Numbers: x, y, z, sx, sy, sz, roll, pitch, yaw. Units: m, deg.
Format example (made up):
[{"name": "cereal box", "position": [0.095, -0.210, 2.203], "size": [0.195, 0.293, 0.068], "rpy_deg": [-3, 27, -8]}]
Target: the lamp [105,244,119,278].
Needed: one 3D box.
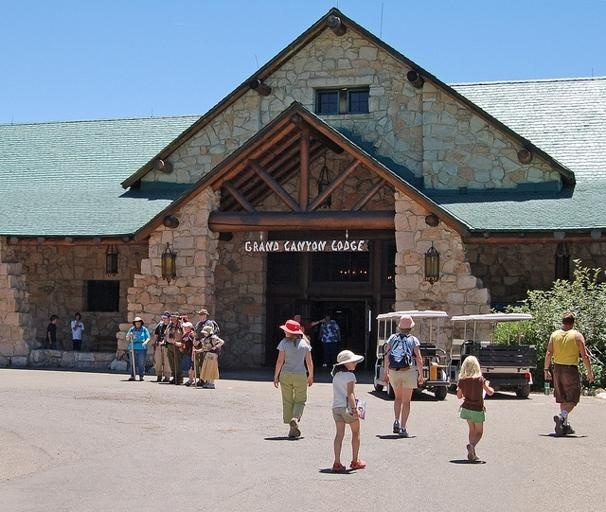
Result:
[{"name": "lamp", "position": [-5.565, 0.127, 34.674], "size": [0.435, 0.852, 0.381], "rpy_deg": [-1, -5, 7]}]

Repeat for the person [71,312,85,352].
[{"name": "person", "position": [-6.455, 2.136, 34.235], "size": [0.359, 1.105, 1.637], "rpy_deg": [1, -5, -10]}]

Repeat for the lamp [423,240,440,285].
[{"name": "lamp", "position": [3.101, 0.191, 29.308], "size": [0.382, 0.991, 0.218], "rpy_deg": [-1, -5, 8]}]

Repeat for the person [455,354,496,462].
[{"name": "person", "position": [2.877, 2.569, 20.319], "size": [0.584, 1.737, 1.371], "rpy_deg": [-1, -5, 7]}]

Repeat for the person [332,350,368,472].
[{"name": "person", "position": [0.726, 2.529, 19.633], "size": [0.534, 1.947, 0.839], "rpy_deg": [0, -5, 2]}]

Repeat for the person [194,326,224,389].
[{"name": "person", "position": [-2.142, 2.293, 27.534], "size": [0.486, 1.479, 0.994], "rpy_deg": [0, -5, -6]}]

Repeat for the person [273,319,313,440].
[{"name": "person", "position": [-0.193, 2.230, 21.965], "size": [0.681, 2.125, 1.321], "rpy_deg": [0, -5, -1]}]

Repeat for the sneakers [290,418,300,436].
[{"name": "sneakers", "position": [-0.173, 3.060, 21.375], "size": [0.152, 0.325, 0.159], "rpy_deg": [-3, 5, 7]}]

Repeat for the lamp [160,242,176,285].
[{"name": "lamp", "position": [-3.471, 0.160, 30.927], "size": [0.391, 1.035, 0.273], "rpy_deg": [-1, -5, 5]}]

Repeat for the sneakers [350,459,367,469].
[{"name": "sneakers", "position": [0.875, 3.372, 19.387], "size": [0.120, 0.092, 0.218], "rpy_deg": [3, 6, 27]}]

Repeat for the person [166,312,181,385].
[{"name": "person", "position": [-3.056, 2.191, 28.273], "size": [0.367, 1.664, 0.615], "rpy_deg": [0, -5, -6]}]

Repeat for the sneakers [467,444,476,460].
[{"name": "sneakers", "position": [2.703, 3.224, 19.689], "size": [0.098, 0.275, 0.123], "rpy_deg": [-6, 3, 41]}]

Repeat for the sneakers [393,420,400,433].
[{"name": "sneakers", "position": [1.647, 3.075, 21.522], "size": [0.108, 0.239, 0.239], "rpy_deg": [0, -5, 2]}]

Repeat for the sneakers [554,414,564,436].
[{"name": "sneakers", "position": [4.545, 3.042, 21.559], "size": [0.127, 0.330, 0.148], "rpy_deg": [-5, 0, 45]}]

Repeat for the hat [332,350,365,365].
[{"name": "hat", "position": [0.752, 1.680, 19.911], "size": [0.416, 0.139, 0.361], "rpy_deg": [-5, -11, -44]}]

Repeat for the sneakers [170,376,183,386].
[{"name": "sneakers", "position": [-3.010, 2.943, 28.297], "size": [0.350, 0.225, 0.181], "rpy_deg": [1, 0, -4]}]

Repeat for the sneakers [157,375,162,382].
[{"name": "sneakers", "position": [-3.447, 2.934, 28.679], "size": [0.096, 0.126, 0.134], "rpy_deg": [-1, -8, -2]}]

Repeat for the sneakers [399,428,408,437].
[{"name": "sneakers", "position": [1.757, 3.148, 21.412], "size": [0.157, 0.172, 0.236], "rpy_deg": [-1, -5, 5]}]

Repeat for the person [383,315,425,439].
[{"name": "person", "position": [1.800, 2.173, 21.968], "size": [0.701, 2.184, 1.149], "rpy_deg": [-1, -5, 4]}]

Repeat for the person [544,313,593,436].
[{"name": "person", "position": [4.794, 2.139, 22.014], "size": [0.736, 2.204, 0.896], "rpy_deg": [-1, -5, 5]}]

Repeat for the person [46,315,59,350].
[{"name": "person", "position": [-7.140, 2.145, 34.134], "size": [0.333, 0.971, 1.980], "rpy_deg": [1, -5, -12]}]

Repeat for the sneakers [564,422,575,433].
[{"name": "sneakers", "position": [4.776, 3.124, 21.646], "size": [0.152, 0.183, 0.401], "rpy_deg": [-2, -5, 20]}]

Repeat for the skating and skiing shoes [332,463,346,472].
[{"name": "skating and skiing shoes", "position": [0.554, 3.402, 19.228], "size": [0.208, 0.145, 0.172], "rpy_deg": [0, -5, 2]}]
